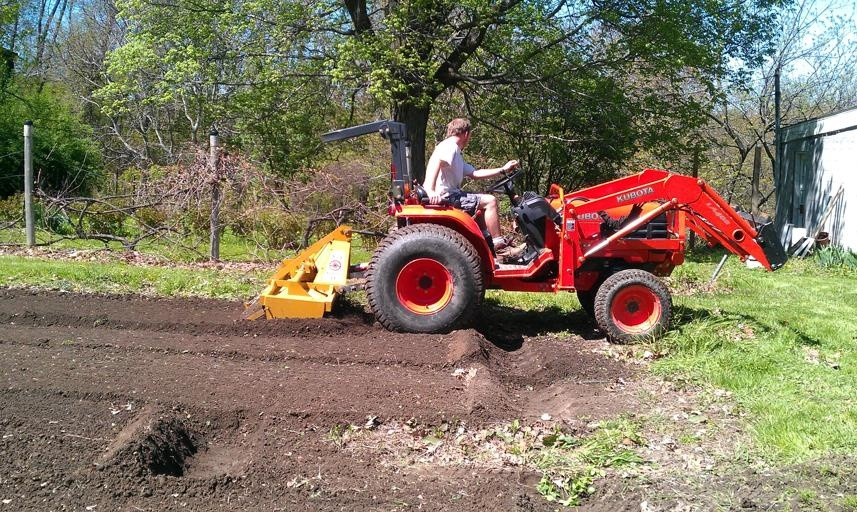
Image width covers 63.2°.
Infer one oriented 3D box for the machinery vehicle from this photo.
[{"bbox_3d":[1.628,-0.601,13.428,9.796,3.861,3.808,0,8,-1],"label":"machinery vehicle"}]
